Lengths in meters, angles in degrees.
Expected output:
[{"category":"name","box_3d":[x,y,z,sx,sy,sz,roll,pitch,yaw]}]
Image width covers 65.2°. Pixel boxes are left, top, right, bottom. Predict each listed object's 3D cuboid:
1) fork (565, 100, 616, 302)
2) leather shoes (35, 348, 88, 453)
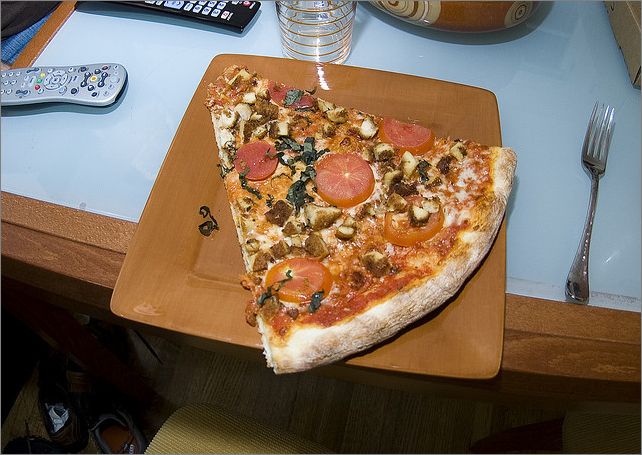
[{"category":"fork","box_3d":[0.873,-0.061,1.626,0.079,0.072,0.654,14,85,11]},{"category":"leather shoes","box_3d":[-1.159,0.768,2.212,0.148,0.183,0.493,-12,74,-7]}]
